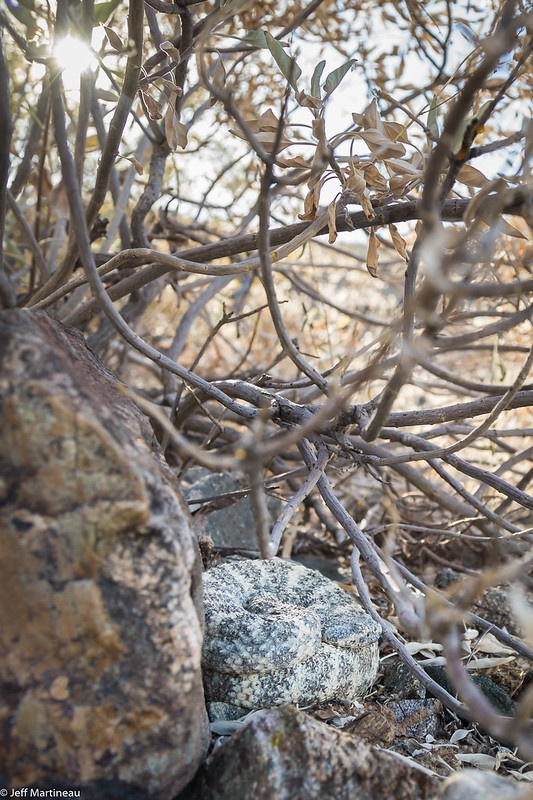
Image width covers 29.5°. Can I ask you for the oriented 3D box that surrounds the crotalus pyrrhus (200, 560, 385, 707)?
[{"bbox_3d":[-0.048,0.674,2.932,0.589,0.156,0.523,18,17,22],"label":"crotalus pyrrhus"}]
